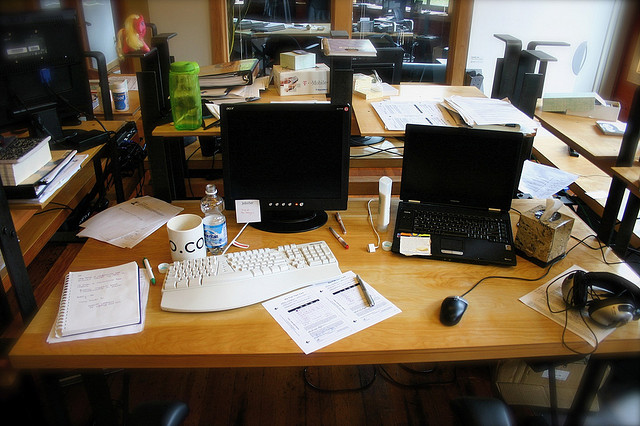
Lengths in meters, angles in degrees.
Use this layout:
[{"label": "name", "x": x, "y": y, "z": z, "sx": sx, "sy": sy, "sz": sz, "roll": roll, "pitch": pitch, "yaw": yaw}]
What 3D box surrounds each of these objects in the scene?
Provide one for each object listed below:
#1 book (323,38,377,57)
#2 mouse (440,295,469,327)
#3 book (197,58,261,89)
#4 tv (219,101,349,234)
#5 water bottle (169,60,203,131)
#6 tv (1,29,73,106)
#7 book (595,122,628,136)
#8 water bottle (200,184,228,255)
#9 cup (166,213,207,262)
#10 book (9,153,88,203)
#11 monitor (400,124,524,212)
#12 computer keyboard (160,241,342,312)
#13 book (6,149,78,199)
[{"label": "book", "x": 0.164, "y": -0.939, "z": 2.571, "sx": 0.289, "sy": 0.103, "sz": 0.385, "roll": -1, "pitch": 27, "yaw": 0}, {"label": "mouse", "x": 0.529, "y": 0.369, "z": 1.760, "sx": 0.098, "sy": 0.056, "sz": 0.166, "roll": 13, "pitch": 36, "yaw": 26}, {"label": "book", "x": -0.527, "y": -0.809, "z": 2.620, "sx": 0.307, "sy": 0.070, "sz": 0.296, "roll": -4, "pitch": 31, "yaw": 2}, {"label": "tv", "x": -0.167, "y": -0.221, "z": 2.089, "sx": 0.580, "sy": 0.537, "sz": 0.326, "roll": -1, "pitch": 20, "yaw": -2}, {"label": "water bottle", "x": -0.672, "y": -0.586, "z": 2.249, "sx": 0.171, "sy": 0.315, "sz": 0.163, "roll": 1, "pitch": 29, "yaw": 0}, {"label": "tv", "x": -1.513, "y": -0.781, "z": 2.361, "sx": 0.119, "sy": 0.316, "sz": 0.355, "roll": 23, "pitch": 34, "yaw": 29}, {"label": "book", "x": 1.734, "y": -0.514, "z": 2.666, "sx": 0.155, "sy": 0.036, "sz": 0.252, "roll": 14, "pitch": 30, "yaw": 26}, {"label": "water bottle", "x": -0.475, "y": 0.028, "z": 2.021, "sx": 0.107, "sy": 0.309, "sz": 0.116, "roll": -2, "pitch": 19, "yaw": 1}, {"label": "cup", "x": -0.591, "y": 0.116, "z": 1.996, "sx": 0.154, "sy": 0.176, "sz": 0.194, "roll": 2, "pitch": 22, "yaw": -3}, {"label": "book", "x": -1.285, "y": -0.173, "z": 2.135, "sx": 0.230, "sy": 0.047, "sz": 0.210, "roll": -23, "pitch": 27, "yaw": -10}, {"label": "monitor", "x": 0.657, "y": -0.214, "z": 2.098, "sx": 0.524, "sy": 0.375, "sz": 0.112, "roll": 4, "pitch": 28, "yaw": 9}, {"label": "computer keyboard", "x": -0.285, "y": 0.263, "z": 1.871, "sx": 0.735, "sy": 0.105, "sz": 0.257, "roll": -8, "pitch": 28, "yaw": -14}, {"label": "book", "x": -1.295, "y": -0.174, "z": 2.097, "sx": 0.216, "sy": 0.044, "sz": 0.205, "roll": 14, "pitch": 38, "yaw": 26}]
